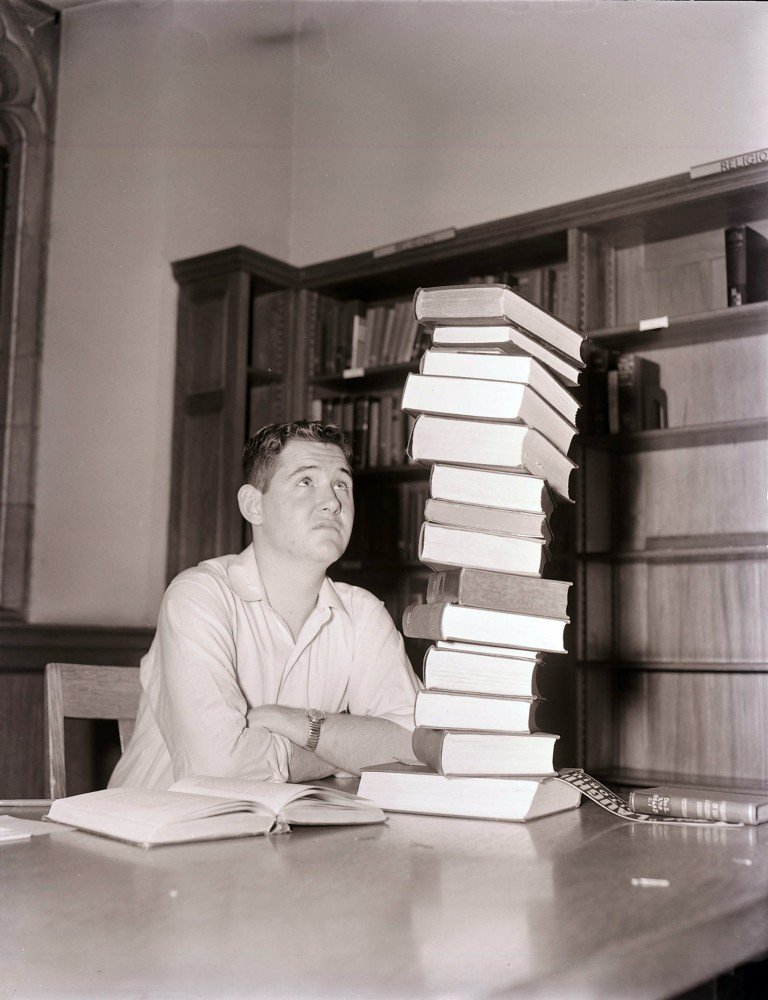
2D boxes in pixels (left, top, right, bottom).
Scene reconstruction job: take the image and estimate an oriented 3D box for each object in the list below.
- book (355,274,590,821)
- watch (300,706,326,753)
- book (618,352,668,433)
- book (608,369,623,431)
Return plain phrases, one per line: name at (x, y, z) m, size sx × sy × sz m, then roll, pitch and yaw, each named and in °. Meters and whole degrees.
book at (0.103, 0.047, 1.246) m, size 0.252 × 0.534 × 0.196 m, roll 1°, pitch -4°, yaw -8°
watch at (-0.094, 0.302, 1.585) m, size 0.035 × 0.037 × 0.012 m, roll -4°, pitch -33°, yaw 29°
book at (0.647, -0.252, 2.969) m, size 0.158 × 0.188 × 0.072 m, roll 4°, pitch -5°, yaw -44°
book at (0.564, -0.237, 2.932) m, size 0.029 × 0.150 × 0.023 m, roll 0°, pitch -4°, yaw 11°
